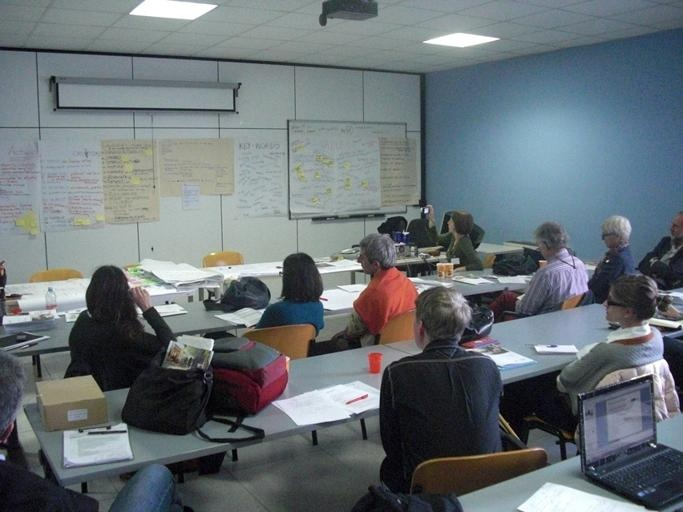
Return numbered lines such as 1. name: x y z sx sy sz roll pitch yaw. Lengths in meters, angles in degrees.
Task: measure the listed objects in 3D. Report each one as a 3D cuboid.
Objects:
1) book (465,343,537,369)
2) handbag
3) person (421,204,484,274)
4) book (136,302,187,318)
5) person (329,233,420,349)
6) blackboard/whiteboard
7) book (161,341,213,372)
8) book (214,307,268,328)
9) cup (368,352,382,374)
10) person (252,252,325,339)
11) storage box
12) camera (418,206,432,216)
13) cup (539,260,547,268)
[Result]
1. book: 0.895 0.562 2.704 0.227 0.026 0.240 -5 11 -30
2. handbag: -0.671 0.614 2.186 0.500 0.202 0.319 7 6 3
3. person: 1.530 -0.209 6.647 0.613 1.523 0.709 -6 18 -7
4. book: -1.345 0.414 3.661 0.189 0.045 0.192 -6 12 -32
5. person: 0.263 0.350 3.793 0.558 0.953 0.601 20 22 36
6. blackboard/whiteboard: 0.036 -1.490 8.154 1.909 1.252 0.075 -6 10 -29
7. book: -0.712 0.451 2.210 0.150 0.143 0.034 7 -34 12
8. book: -0.787 0.496 3.928 0.237 0.049 0.250 -9 18 -39
9. cup: 0.192 0.616 2.831 0.108 0.111 0.104 -1 5 0
10. person: -0.415 0.350 3.531 0.537 0.749 0.508 4 15 -21
11. storage box: -1.222 0.659 2.217 0.239 0.101 0.238 -4 12 -31
12. camera: 1.142 -0.616 6.722 0.184 0.140 0.190 -11 -1 26
13. cup: 1.988 0.080 4.786 0.087 0.070 0.085 0 5 0
